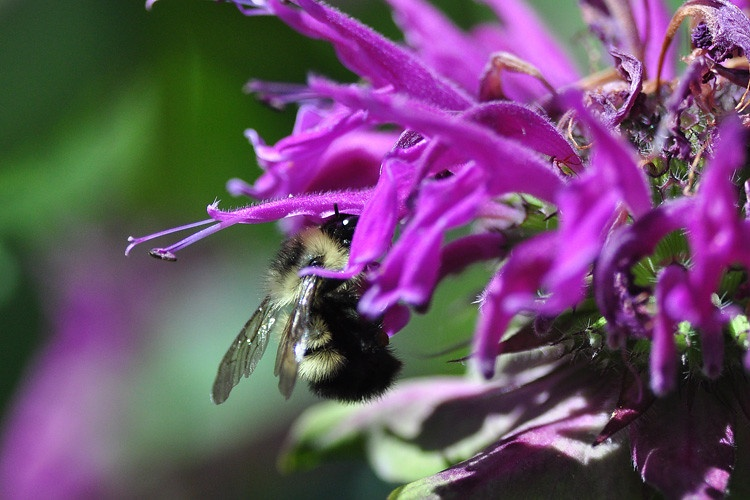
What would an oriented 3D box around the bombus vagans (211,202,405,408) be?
[{"bbox_3d":[-0.096,0.132,1.391,0.270,0.130,0.385,-27,29,31],"label":"bombus vagans"}]
